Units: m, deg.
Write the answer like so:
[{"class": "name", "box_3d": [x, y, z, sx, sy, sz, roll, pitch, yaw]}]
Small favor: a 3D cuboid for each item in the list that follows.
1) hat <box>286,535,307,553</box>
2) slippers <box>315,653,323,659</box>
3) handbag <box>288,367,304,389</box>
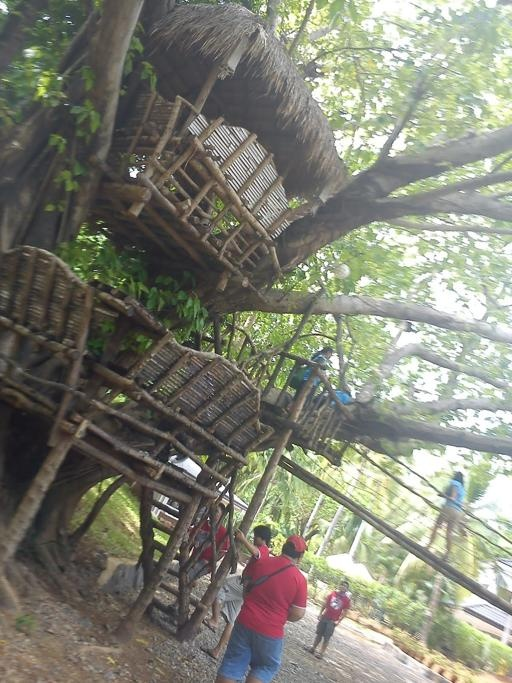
[{"class": "hat", "box_3d": [0.408, 1.929, 6.182, 0.160, 0.121, 0.227, 21, -9, 35]}, {"class": "slippers", "box_3d": [1.173, 5.871, 12.006, 0.037, 0.114, 0.134, -19, -25, 38]}, {"class": "handbag", "box_3d": [0.598, 0.533, 10.243, 0.096, 0.347, 0.293, 24, -21, -21]}]
